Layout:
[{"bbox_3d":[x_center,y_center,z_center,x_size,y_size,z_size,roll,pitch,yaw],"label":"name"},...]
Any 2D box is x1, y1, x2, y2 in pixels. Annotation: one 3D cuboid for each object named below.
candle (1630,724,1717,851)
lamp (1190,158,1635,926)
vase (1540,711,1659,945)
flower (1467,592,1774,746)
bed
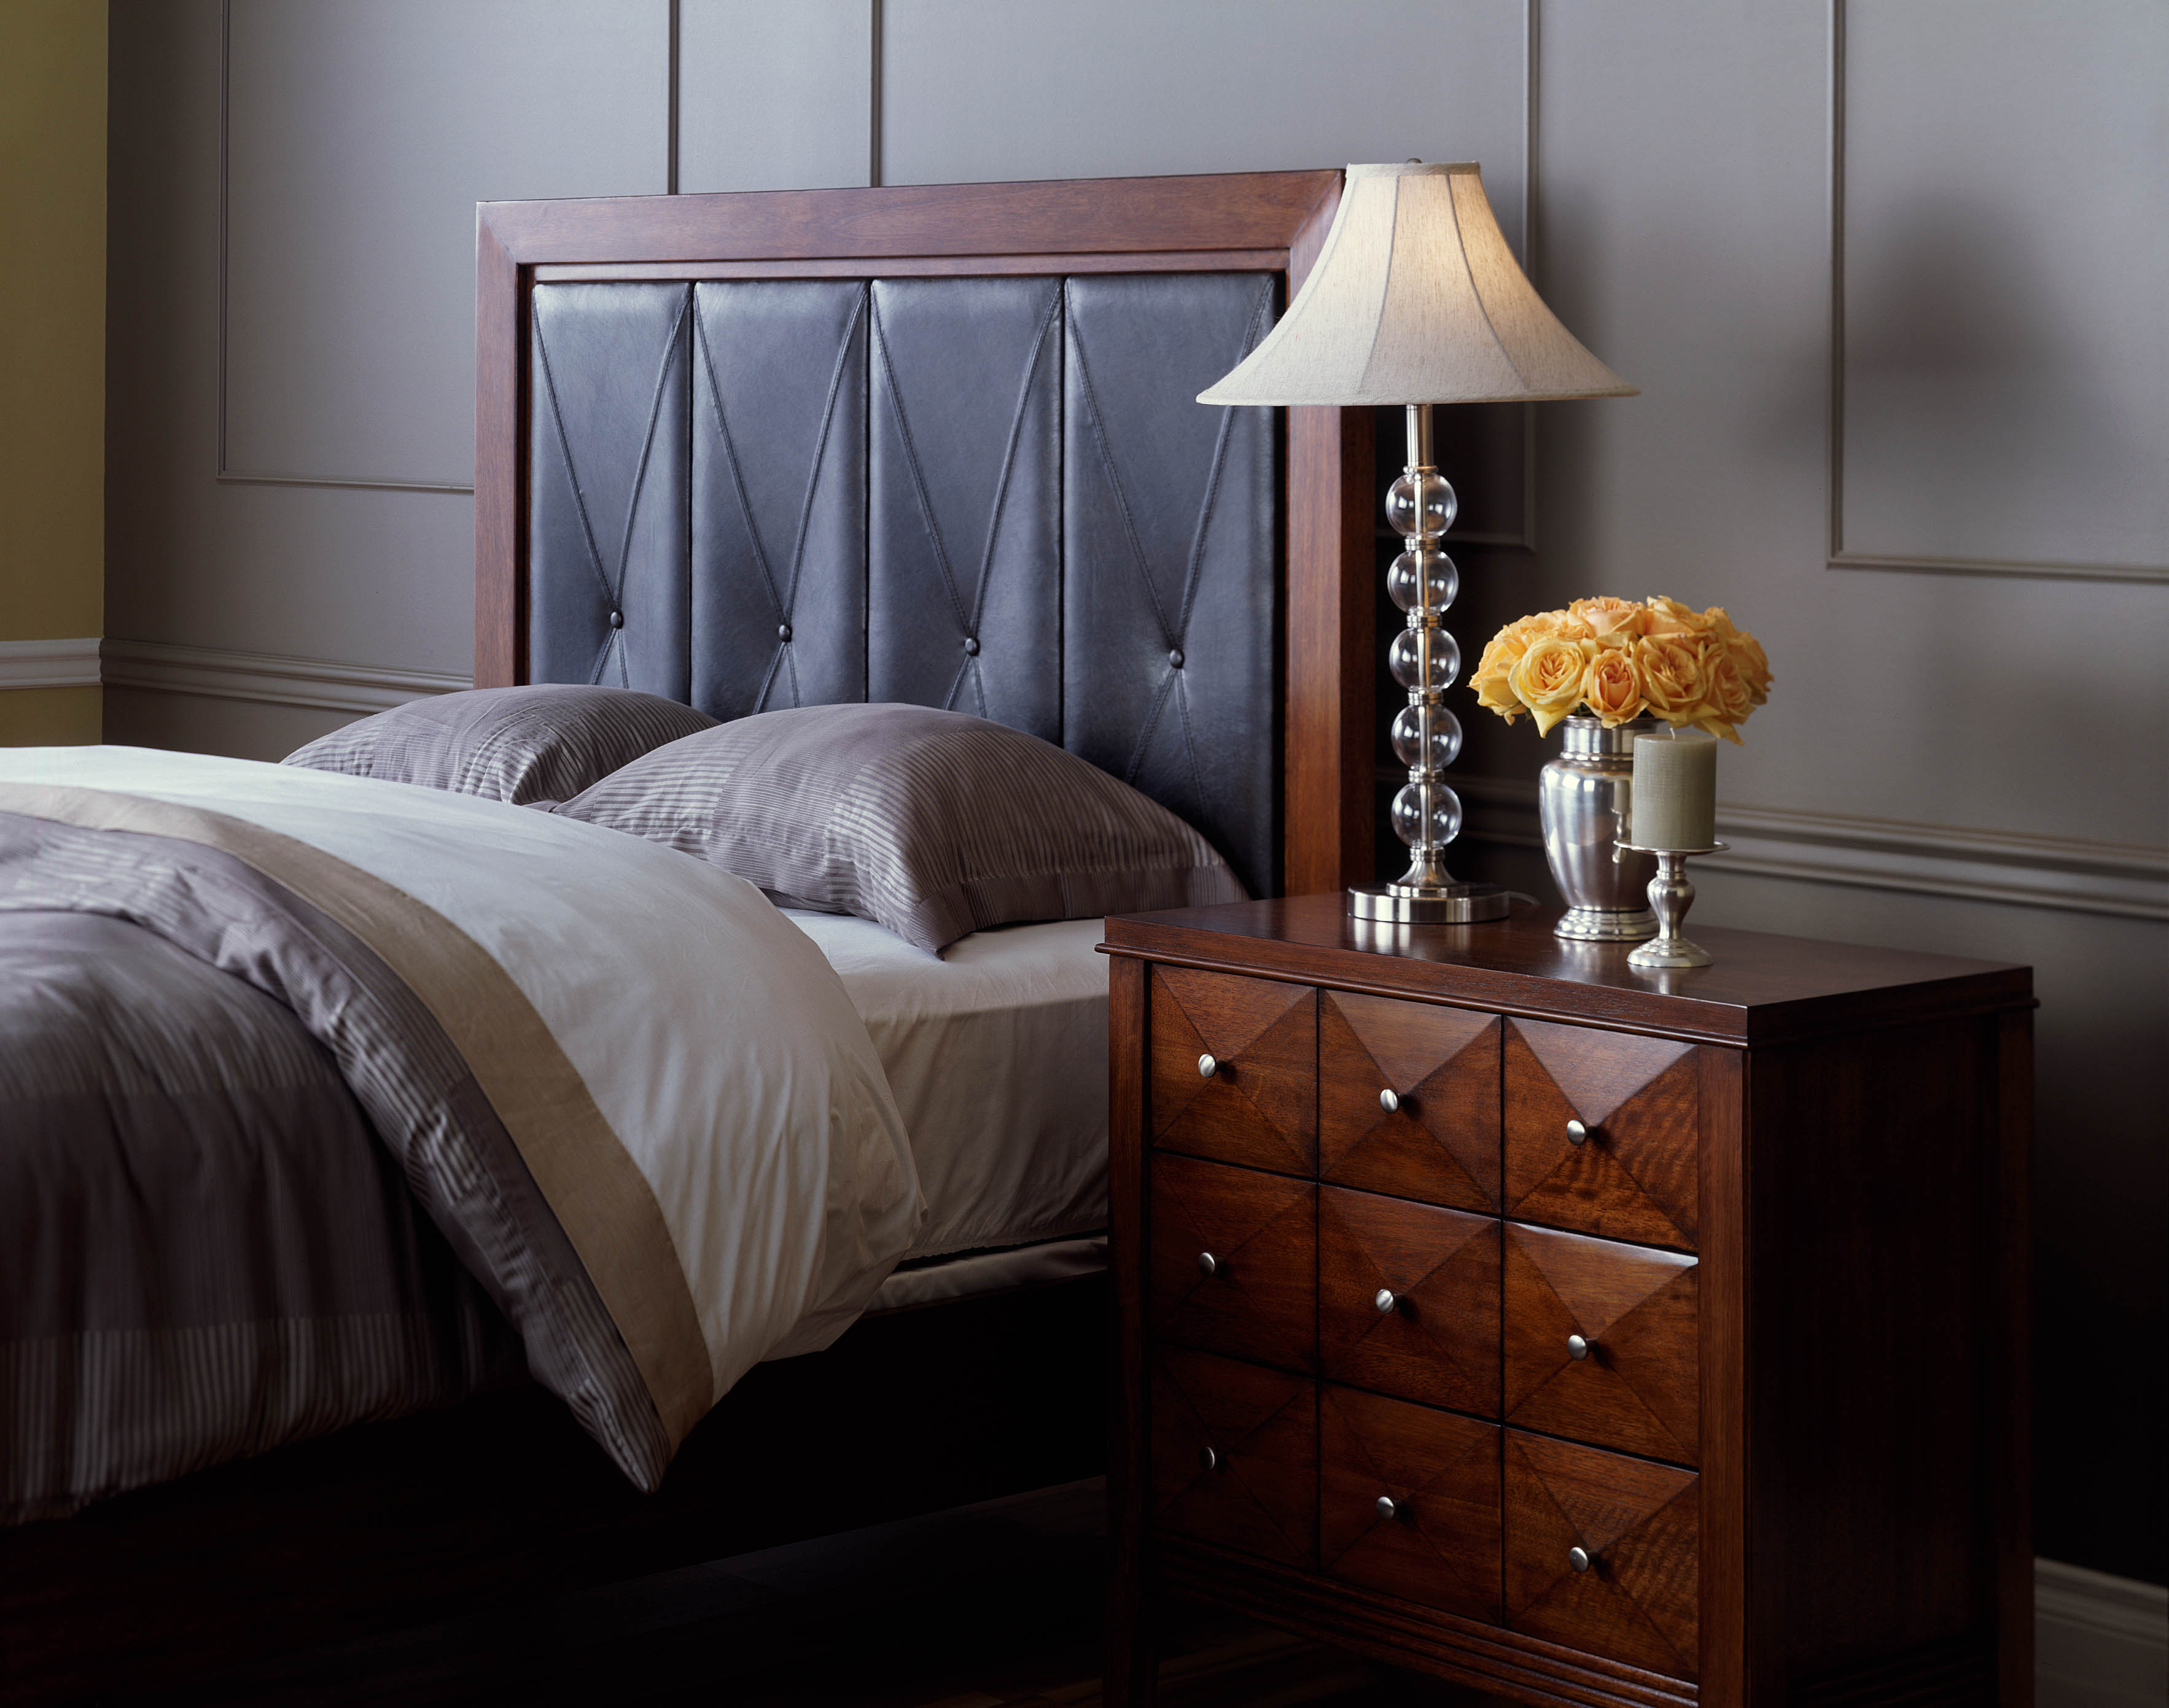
[{"bbox_3d":[0.471,-0.049,1.446,0.066,0.089,0.072,-1,7,-3],"label":"candle"},{"bbox_3d":[0.350,-0.316,1.849,0.379,0.745,0.414,-4,12,-2],"label":"lamp"},{"bbox_3d":[0.451,-0.025,1.560,0.100,0.186,0.107,-2,6,24],"label":"vase"},{"bbox_3d":[0.456,-0.154,1.537,0.151,0.122,0.162,0,19,10],"label":"flower"},{"bbox_3d":[-0.411,-0.085,1.888,1.335,0.997,1.438,4,7,38],"label":"bed"}]
